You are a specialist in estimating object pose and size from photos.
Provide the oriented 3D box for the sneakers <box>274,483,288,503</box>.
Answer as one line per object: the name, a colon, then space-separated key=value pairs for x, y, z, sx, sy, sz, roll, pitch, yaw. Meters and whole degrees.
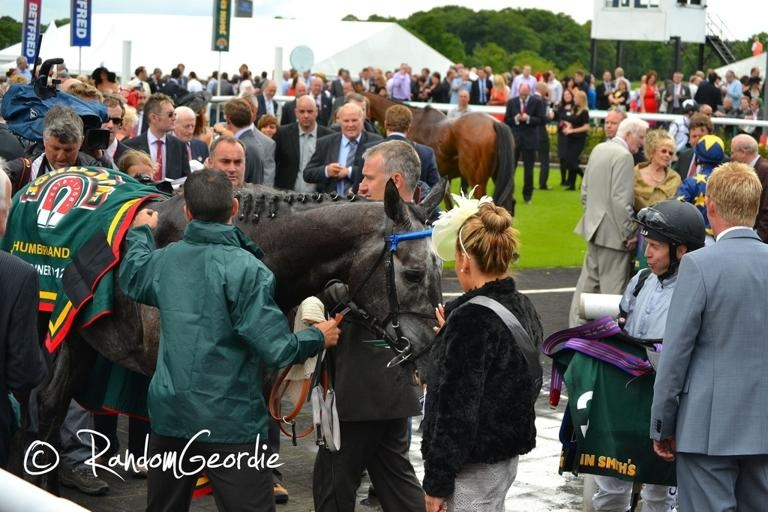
sneakers: x=-0.860 y=1.970 z=9.520 sx=0.143 sy=0.160 sz=0.368 roll=0 pitch=-8 yaw=-7

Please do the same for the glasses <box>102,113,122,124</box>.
glasses: x=-2.713 y=-1.375 z=11.565 sx=0.164 sy=0.059 sz=0.190 roll=3 pitch=-11 yaw=-34

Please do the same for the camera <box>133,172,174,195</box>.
camera: x=-1.992 y=-0.636 z=9.867 sx=0.315 sy=0.160 sz=0.227 roll=24 pitch=12 yaw=17

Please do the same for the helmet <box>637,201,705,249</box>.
helmet: x=2.140 y=-0.243 z=8.460 sx=0.434 sy=0.238 sz=0.335 roll=10 pitch=8 yaw=-7

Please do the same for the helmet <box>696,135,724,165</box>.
helmet: x=3.685 y=-1.195 z=12.943 sx=0.313 sy=0.351 sz=0.477 roll=4 pitch=3 yaw=15
